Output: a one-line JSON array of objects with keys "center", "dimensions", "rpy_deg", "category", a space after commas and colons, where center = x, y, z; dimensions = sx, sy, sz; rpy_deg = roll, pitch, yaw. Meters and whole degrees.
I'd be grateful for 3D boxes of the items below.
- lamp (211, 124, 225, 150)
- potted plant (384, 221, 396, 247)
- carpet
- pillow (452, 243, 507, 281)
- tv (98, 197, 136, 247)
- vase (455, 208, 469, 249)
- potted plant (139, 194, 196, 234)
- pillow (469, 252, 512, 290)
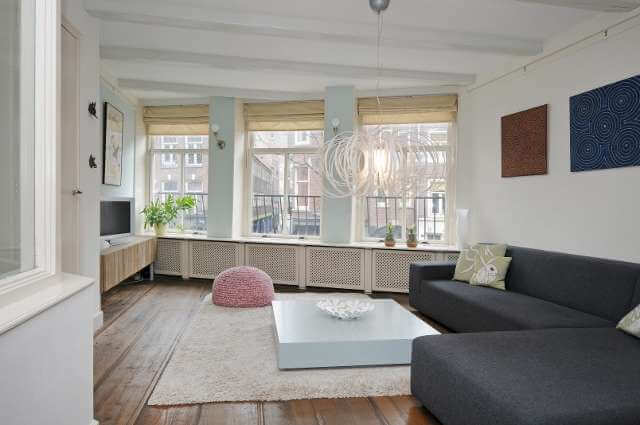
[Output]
[{"center": [-1.538, -1.137, 6.120], "dimensions": [0.227, 0.365, 0.144], "rpy_deg": [0, 3, -7], "category": "lamp"}, {"center": [1.013, 0.305, 5.779], "dimensions": [0.141, 0.322, 0.373], "rpy_deg": [1, 3, 9], "category": "potted plant"}, {"center": [-0.371, 1.284, 3.853], "dimensions": [1.972, 0.275, 1.575], "rpy_deg": [0, 2, -5], "category": "carpet"}, {"center": [1.769, 0.559, 4.532], "dimensions": [0.145, 0.445, 0.474], "rpy_deg": [28, -12, -27], "category": "pillow"}, {"center": [-2.680, 0.119, 5.283], "dimensions": [0.169, 0.465, 0.650], "rpy_deg": [1, -3, 10], "category": "tv"}, {"center": [1.980, 0.208, 5.572], "dimensions": [0.158, 0.525, 0.417], "rpy_deg": [1, 3, 22], "category": "vase"}, {"center": [-2.454, 0.024, 6.559], "dimensions": [0.856, 0.634, 0.547], "rpy_deg": [-1, 3, -19], "category": "potted plant"}, {"center": [1.840, 0.601, 4.465], "dimensions": [0.570, 0.505, 0.295], "rpy_deg": [-1, 1, 36], "category": "pillow"}]
